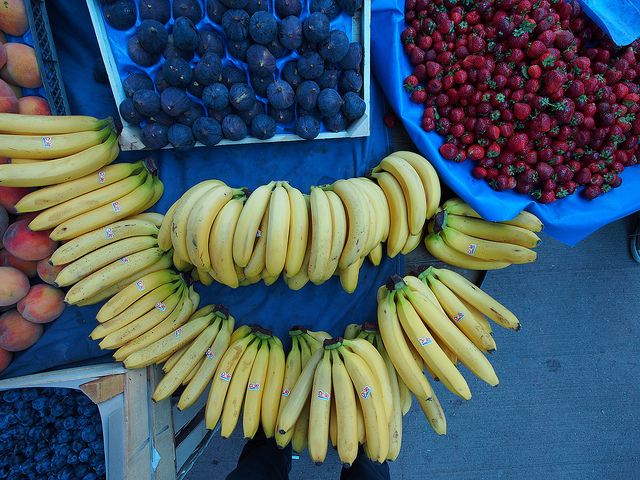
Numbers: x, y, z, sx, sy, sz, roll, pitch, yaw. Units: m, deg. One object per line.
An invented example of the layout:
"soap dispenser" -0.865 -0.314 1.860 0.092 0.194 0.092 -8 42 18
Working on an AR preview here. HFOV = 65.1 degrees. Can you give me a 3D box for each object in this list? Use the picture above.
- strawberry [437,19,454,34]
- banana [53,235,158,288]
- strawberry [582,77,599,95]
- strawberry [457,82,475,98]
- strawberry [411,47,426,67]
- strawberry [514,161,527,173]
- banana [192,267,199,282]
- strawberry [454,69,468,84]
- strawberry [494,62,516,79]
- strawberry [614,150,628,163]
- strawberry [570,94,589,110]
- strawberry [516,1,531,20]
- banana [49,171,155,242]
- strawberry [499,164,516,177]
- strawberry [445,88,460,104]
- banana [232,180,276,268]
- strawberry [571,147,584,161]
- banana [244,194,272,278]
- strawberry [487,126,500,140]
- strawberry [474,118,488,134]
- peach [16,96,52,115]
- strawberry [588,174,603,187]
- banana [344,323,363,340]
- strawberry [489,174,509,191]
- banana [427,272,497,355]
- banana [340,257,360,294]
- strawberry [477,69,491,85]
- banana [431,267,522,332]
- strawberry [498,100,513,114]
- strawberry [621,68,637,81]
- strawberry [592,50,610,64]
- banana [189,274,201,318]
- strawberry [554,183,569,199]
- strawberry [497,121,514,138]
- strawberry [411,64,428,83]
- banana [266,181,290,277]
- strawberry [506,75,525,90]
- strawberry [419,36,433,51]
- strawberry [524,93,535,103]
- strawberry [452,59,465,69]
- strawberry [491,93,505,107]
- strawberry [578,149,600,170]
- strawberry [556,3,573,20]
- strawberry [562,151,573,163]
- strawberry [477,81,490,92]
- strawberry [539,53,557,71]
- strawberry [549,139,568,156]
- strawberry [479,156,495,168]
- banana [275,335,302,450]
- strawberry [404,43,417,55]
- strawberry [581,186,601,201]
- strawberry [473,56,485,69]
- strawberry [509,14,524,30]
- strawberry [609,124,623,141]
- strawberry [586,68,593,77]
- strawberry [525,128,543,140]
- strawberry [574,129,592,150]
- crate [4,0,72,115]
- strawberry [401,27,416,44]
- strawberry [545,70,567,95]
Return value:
"strawberry" 0.785 -1.327 3.115 0.076 0.074 0.082 0 101 2
"banana" -1.309 0.138 3.106 0.680 0.135 0.173 -30 90 -27
"strawberry" 1.620 -0.925 2.998 0.059 0.025 0.089 4 107 6
"strawberry" 0.903 -0.921 3.092 0.092 0.073 0.059 -32 82 -4
"strawberry" 0.627 -1.165 3.193 0.075 0.060 0.110 -15 107 0
"strawberry" 1.247 -0.456 3.124 0.062 0.080 0.072 7 85 30
"banana" -0.818 0.227 3.229 0.043 0.016 0.076 -2 89 -8
"strawberry" 0.870 -1.006 3.091 0.060 0.044 0.084 2 84 3
"strawberry" 1.119 -1.035 3.040 0.099 0.093 0.095 -13 44 20
"strawberry" 1.898 -0.527 3.159 0.054 0.077 0.043 -28 54 11
"strawberry" 1.572 -0.836 3.029 0.069 0.073 0.084 5 95 42
"strawberry" 1.239 -1.394 3.043 0.064 0.050 0.097 8 94 7
"banana" -1.335 -0.192 3.090 0.695 0.245 0.150 -24 30 -25
"strawberry" 1.181 -0.437 3.153 0.074 0.069 0.077 4 70 2
"strawberry" 0.831 -0.902 3.136 0.044 0.083 0.077 -5 57 -44
"banana" -0.380 -0.084 2.771 0.121 0.174 0.568 9 77 36
"strawberry" 1.608 -0.542 3.113 0.057 0.022 0.066 9 100 0
"banana" -0.399 0.012 2.869 0.103 0.176 0.563 10 107 -4
"strawberry" 1.064 -0.657 3.074 0.054 0.065 0.078 -5 27 -6
"strawberry" 0.994 -0.700 3.088 0.062 0.049 0.092 0 75 40
"peach" -1.807 -0.841 3.194 0.138 0.148 0.149 4 32 28
"strawberry" 1.746 -0.376 3.168 0.070 0.067 0.078 38 120 48
"banana" 0.215 0.596 3.261 0.104 0.140 0.096 5 77 -4
"strawberry" 1.138 -0.363 3.175 0.096 0.071 0.101 -34 83 -12
"banana" 0.858 0.446 3.129 0.134 0.190 0.709 -22 47 -13
"banana" 0.183 0.239 3.173 0.075 0.282 0.091 22 32 33
"strawberry" 1.003 -0.994 3.057 0.080 0.046 0.080 10 77 -4
"banana" 0.936 0.378 3.158 0.639 0.163 0.144 32 50 19
"strawberry" 1.130 -0.819 3.061 0.065 0.042 0.062 -10 52 9
"strawberry" 1.918 -1.021 3.108 0.062 0.064 0.087 2 89 36
"strawberry" 1.736 -1.123 3.103 0.083 0.064 0.051 -37 98 1
"banana" -0.786 0.363 3.202 0.058 0.091 0.257 0 93 19
"strawberry" 1.546 -0.297 3.216 0.072 0.092 0.088 16 90 25
"strawberry" 1.141 -0.684 3.080 0.099 0.037 0.087 18 77 -3
"strawberry" 0.643 -1.063 3.209 0.067 0.051 0.100 14 99 13
"banana" -0.218 -0.056 2.731 0.100 0.121 0.502 3 87 5
"strawberry" 1.185 -0.947 3.034 0.096 0.085 0.092 4 85 2
"strawberry" 0.666 -1.248 3.176 0.070 0.074 0.100 5 96 -1
"strawberry" 1.269 -0.865 3.033 0.050 0.028 0.041 -41 77 5
"strawberry" 0.865 -1.095 3.138 0.067 0.041 0.060 -11 82 4
"strawberry" 1.085 -0.860 3.059 0.075 0.050 0.074 18 77 -2
"strawberry" 1.681 -0.507 3.154 0.109 0.089 0.076 -35 53 26
"strawberry" 1.511 -1.421 3.098 0.064 0.050 0.091 12 47 21
"strawberry" 1.546 -0.516 3.135 0.067 0.044 0.057 -16 87 -5
"strawberry" 0.995 -0.940 3.076 0.051 0.053 0.067 21 104 -26
"strawberry" 1.362 -1.061 2.993 0.081 0.035 0.095 -8 105 -2
"strawberry" 1.473 -0.573 3.085 0.079 0.100 0.086 33 63 33
"strawberry" 1.048 -0.488 3.156 0.082 0.074 0.075 19 87 5
"banana" -0.224 0.911 3.082 0.126 0.194 0.699 11 87 -18
"strawberry" 0.591 -1.234 3.264 0.055 0.059 0.068 37 83 29
"strawberry" 1.726 -0.301 3.190 0.094 0.058 0.070 -25 28 -27
"strawberry" 0.971 -1.087 3.073 0.054 0.037 0.075 15 85 23
"strawberry" 1.194 -1.322 3.029 0.070 0.042 0.082 5 78 14
"strawberry" 1.822 -0.663 3.089 0.084 0.046 0.095 12 77 -4
"strawberry" 1.639 -1.019 3.045 0.040 0.031 0.058 -1 60 16
"strawberry" 1.307 -0.645 3.055 0.065 0.083 0.073 22 97 40
"strawberry" 1.627 -0.624 3.146 0.095 0.110 0.093 -41 78 17
"crate" -1.800 -1.172 3.196 0.348 0.143 0.728 -13 107 -21
"strawberry" 0.568 -1.308 3.215 0.066 0.091 0.055 -4 90 -10
"strawberry" 1.395 -0.942 2.974 0.087 0.079 0.129 32 105 38
